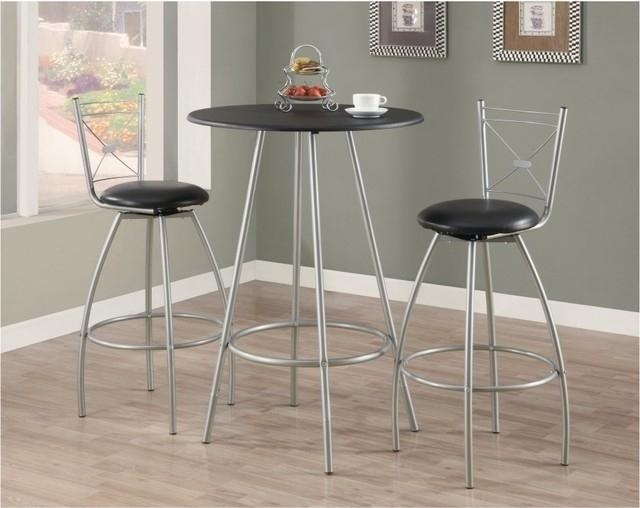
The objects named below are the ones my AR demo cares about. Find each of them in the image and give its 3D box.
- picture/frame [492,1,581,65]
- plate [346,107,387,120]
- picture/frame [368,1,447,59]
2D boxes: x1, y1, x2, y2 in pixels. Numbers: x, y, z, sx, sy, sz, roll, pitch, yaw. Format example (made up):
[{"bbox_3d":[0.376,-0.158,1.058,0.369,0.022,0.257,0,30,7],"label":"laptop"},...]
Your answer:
[{"bbox_3d":[1.227,-1.234,3.632,0.458,0.348,0.034,3,8,26],"label":"picture/frame"},{"bbox_3d":[0.180,-0.538,2.495,0.148,0.032,0.161,1,14,-1],"label":"plate"},{"bbox_3d":[0.559,-1.366,3.972,0.448,0.280,0.024,4,11,25],"label":"picture/frame"}]
